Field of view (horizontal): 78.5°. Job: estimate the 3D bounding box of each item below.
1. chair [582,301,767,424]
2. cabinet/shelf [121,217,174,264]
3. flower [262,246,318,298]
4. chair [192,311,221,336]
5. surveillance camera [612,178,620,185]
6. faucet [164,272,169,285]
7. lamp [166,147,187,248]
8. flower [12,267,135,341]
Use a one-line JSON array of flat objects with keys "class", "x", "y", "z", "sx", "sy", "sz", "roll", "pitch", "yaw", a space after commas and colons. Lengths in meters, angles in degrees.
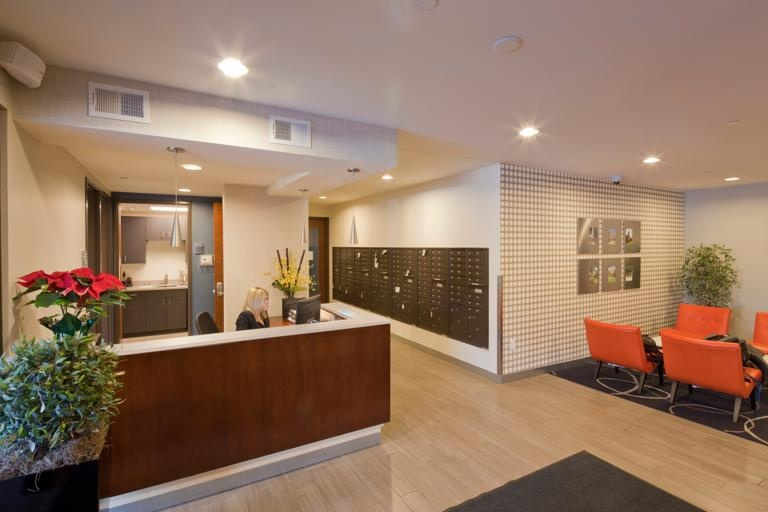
[{"class": "chair", "x": 3.995, "y": 1.262, "z": 6.063, "sx": 1.574, "sy": 0.676, "sz": 1.550, "roll": 1, "pitch": -1, "yaw": -33}, {"class": "cabinet/shelf", "x": -4.240, "y": -0.306, "z": 8.362, "sx": 0.888, "sy": 0.812, "sz": 0.335, "roll": 1, "pitch": -1, "yaw": -31}, {"class": "flower", "x": -1.384, "y": 0.312, "z": 6.817, "sx": 0.678, "sy": 0.878, "sz": 0.711, "roll": 10, "pitch": 15, "yaw": 40}, {"class": "chair", "x": -1.963, "y": 0.752, "z": 5.212, "sx": 0.188, "sy": 0.230, "sz": 0.565, "roll": 0, "pitch": 1, "yaw": -25}, {"class": "surveillance camera", "x": 3.542, "y": -1.133, "z": 7.172, "sx": 0.108, "sy": 0.064, "sz": 0.106, "roll": 1, "pitch": 0, "yaw": 3}, {"class": "faucet", "x": -4.021, "y": 0.413, "z": 8.716, "sx": 0.076, "sy": 0.191, "sz": 0.062, "roll": 0, "pitch": 2, "yaw": -25}, {"class": "lamp", "x": -2.278, "y": -0.613, "z": 5.173, "sx": 0.248, "sy": 1.095, "sz": 0.257, "roll": 1, "pitch": 7, "yaw": -12}, {"class": "flower", "x": -2.354, "y": 0.405, "z": 3.678, "sx": 0.602, "sy": 0.427, "sz": 0.600, "roll": 3, "pitch": -8, "yaw": 39}]
